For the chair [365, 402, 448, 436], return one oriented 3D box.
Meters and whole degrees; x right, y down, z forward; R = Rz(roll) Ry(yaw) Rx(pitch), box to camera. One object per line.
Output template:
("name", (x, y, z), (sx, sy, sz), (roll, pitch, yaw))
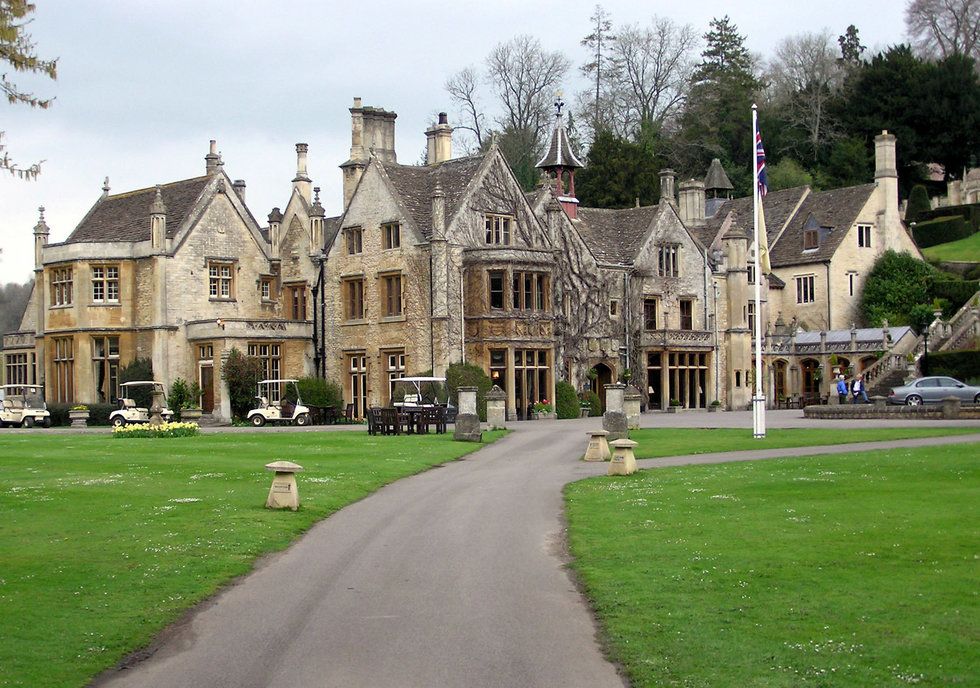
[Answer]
("chair", (-3.250, 2.872, 44.338), (2.986, 1.191, 2.643), (2, -6, -31))
